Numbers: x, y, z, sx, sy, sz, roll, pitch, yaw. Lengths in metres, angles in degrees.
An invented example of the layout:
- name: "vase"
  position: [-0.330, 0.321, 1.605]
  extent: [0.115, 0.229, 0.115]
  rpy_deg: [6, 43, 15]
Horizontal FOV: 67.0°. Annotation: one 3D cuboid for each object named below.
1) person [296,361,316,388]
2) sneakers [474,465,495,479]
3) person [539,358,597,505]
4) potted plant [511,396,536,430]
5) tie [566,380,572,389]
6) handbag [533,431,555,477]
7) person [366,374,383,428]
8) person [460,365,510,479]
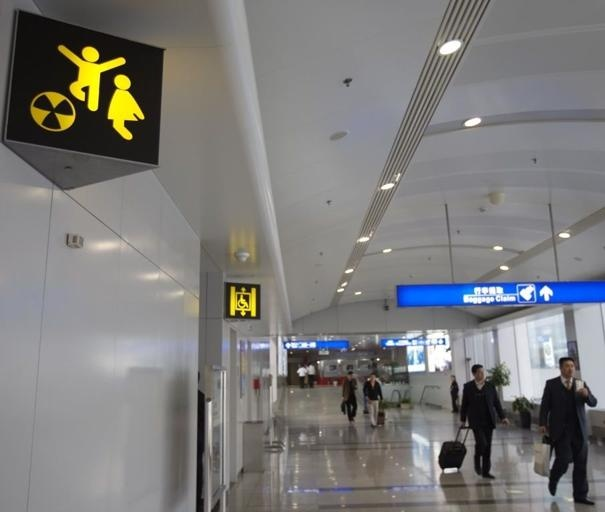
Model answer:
- name: "person"
  position: [0.209, 5.797, 22.287]
  extent: [0.472, 1.152, 1.069]
  rpy_deg: [9, -17, -41]
- name: "sneakers"
  position: [2.741, 3.282, 6.985]
  extent: [0.136, 0.192, 0.426]
  rpy_deg: [9, -19, -12]
- name: "person"
  position: [3.232, 2.111, 5.513]
  extent: [0.617, 1.722, 0.497]
  rpy_deg: [-9, -14, 30]
- name: "potted plant"
  position: [6.243, 4.496, 13.173]
  extent: [0.741, 0.945, 0.641]
  rpy_deg: [1, -10, -2]
- name: "tie"
  position: [3.185, 1.530, 5.445]
  extent: [0.056, 0.082, 0.019]
  rpy_deg: [0, 10, 24]
- name: "handbag"
  position: [2.933, 2.425, 5.548]
  extent: [0.217, 0.502, 0.380]
  rpy_deg: [-8, -14, 27]
- name: "person"
  position: [2.287, 4.506, 14.451]
  extent: [0.466, 1.508, 1.505]
  rpy_deg: [-4, -13, 9]
- name: "person"
  position: [2.791, 2.529, 7.022]
  extent: [0.646, 1.678, 0.823]
  rpy_deg: [-7, -13, 21]
